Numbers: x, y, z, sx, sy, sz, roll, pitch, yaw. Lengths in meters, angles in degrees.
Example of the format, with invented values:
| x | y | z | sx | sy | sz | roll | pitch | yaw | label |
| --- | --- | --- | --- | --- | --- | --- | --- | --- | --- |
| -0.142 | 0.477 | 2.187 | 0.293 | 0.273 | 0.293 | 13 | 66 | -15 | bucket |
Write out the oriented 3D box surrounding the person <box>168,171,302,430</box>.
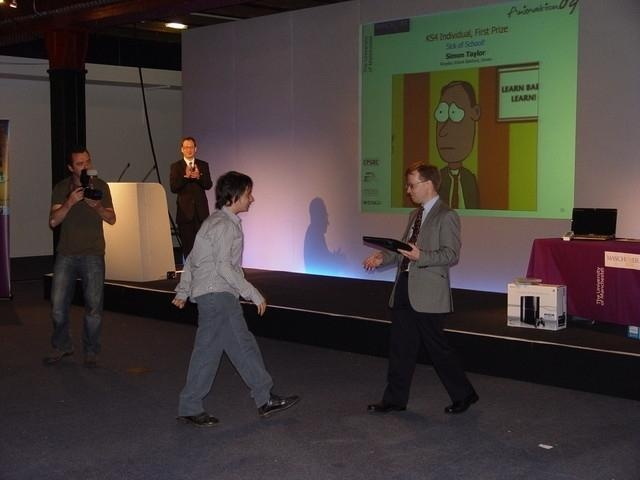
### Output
| x | y | z | sx | sy | sz | roll | pitch | yaw | label |
| --- | --- | --- | --- | --- | --- | --- | --- | --- | --- |
| -0.594 | 0.423 | 3.240 | 0.704 | 1.726 | 0.496 | -2 | 8 | -19 | person |

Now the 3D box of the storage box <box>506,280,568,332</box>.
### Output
| x | y | z | sx | sy | sz | roll | pitch | yaw | label |
| --- | --- | --- | --- | --- | --- | --- | --- | --- | --- |
| 1.986 | 0.615 | 4.533 | 0.426 | 0.397 | 0.153 | 0 | 0 | 41 | storage box |

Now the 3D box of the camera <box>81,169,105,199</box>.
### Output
| x | y | z | sx | sy | sz | roll | pitch | yaw | label |
| --- | --- | --- | --- | --- | --- | --- | --- | --- | --- |
| -2.029 | -0.482 | 4.304 | 0.282 | 0.311 | 0.184 | -1 | 0 | 40 | camera |

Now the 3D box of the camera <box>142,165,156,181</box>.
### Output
| x | y | z | sx | sy | sz | roll | pitch | yaw | label |
| --- | --- | --- | --- | --- | --- | --- | --- | --- | --- |
| -3.899 | -1.531 | 11.118 | 0.069 | 0.384 | 0.076 | 28 | -6 | 10 | camera |

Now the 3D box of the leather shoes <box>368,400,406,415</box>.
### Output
| x | y | z | sx | sy | sz | roll | pitch | yaw | label |
| --- | --- | --- | --- | --- | --- | --- | --- | --- | --- |
| 0.480 | 1.202 | 3.575 | 0.281 | 0.133 | 0.108 | 5 | -3 | -3 | leather shoes |

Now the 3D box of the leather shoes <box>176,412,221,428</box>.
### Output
| x | y | z | sx | sy | sz | roll | pitch | yaw | label |
| --- | --- | --- | --- | --- | --- | --- | --- | --- | --- |
| -0.834 | 1.203 | 3.320 | 0.239 | 0.121 | 0.114 | -2 | -2 | 5 | leather shoes |

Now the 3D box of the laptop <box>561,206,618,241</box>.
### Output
| x | y | z | sx | sy | sz | roll | pitch | yaw | label |
| --- | --- | --- | --- | --- | --- | --- | --- | --- | --- |
| 2.654 | -0.162 | 4.723 | 0.416 | 0.292 | 0.335 | 2 | 2 | 37 | laptop |

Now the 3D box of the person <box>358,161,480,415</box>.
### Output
| x | y | z | sx | sy | sz | roll | pitch | yaw | label |
| --- | --- | --- | --- | --- | --- | --- | --- | --- | --- |
| 0.733 | 0.385 | 3.417 | 0.710 | 1.805 | 0.462 | 1 | 8 | 2 | person |

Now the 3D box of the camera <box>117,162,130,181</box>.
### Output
| x | y | z | sx | sy | sz | roll | pitch | yaw | label |
| --- | --- | --- | --- | --- | --- | --- | --- | --- | --- |
| -4.317 | -1.503 | 10.718 | 0.076 | 0.428 | 0.082 | 24 | -4 | 3 | camera |

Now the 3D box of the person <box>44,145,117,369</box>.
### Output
| x | y | z | sx | sy | sz | roll | pitch | yaw | label |
| --- | --- | --- | --- | --- | --- | --- | --- | --- | --- |
| -2.226 | 0.182 | 4.585 | 0.766 | 2.039 | 0.468 | 5 | 8 | 25 | person |

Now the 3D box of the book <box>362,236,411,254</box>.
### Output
| x | y | z | sx | sy | sz | roll | pitch | yaw | label |
| --- | --- | --- | --- | --- | --- | --- | --- | --- | --- |
| 0.439 | 0.037 | 3.367 | 0.290 | 0.133 | 0.462 | 1 | 9 | -3 | book |
